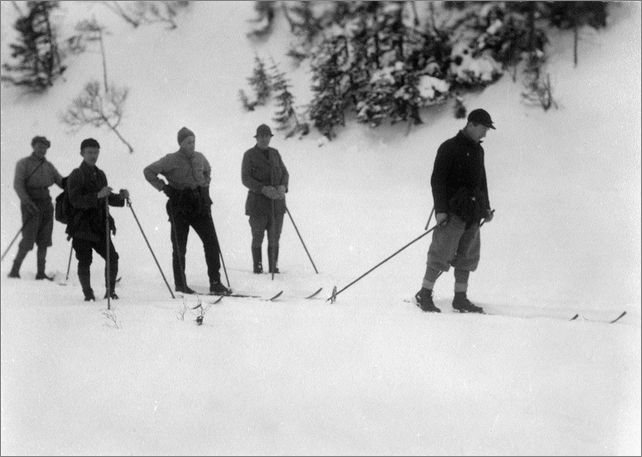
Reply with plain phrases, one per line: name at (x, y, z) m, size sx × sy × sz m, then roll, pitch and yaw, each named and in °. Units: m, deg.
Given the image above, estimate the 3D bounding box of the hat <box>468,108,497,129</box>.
hat at (1.362, -0.929, 6.909) m, size 0.180 × 0.133 × 0.146 m, roll 13°, pitch 16°, yaw 21°

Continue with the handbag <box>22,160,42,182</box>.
handbag at (-2.601, -0.508, 7.354) m, size 0.194 × 0.199 × 0.038 m, roll 1°, pitch 5°, yaw 3°

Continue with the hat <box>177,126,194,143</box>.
hat at (-1.210, -0.818, 7.252) m, size 0.123 × 0.142 × 0.120 m, roll 7°, pitch 25°, yaw 40°

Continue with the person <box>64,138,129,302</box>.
person at (-1.941, -0.070, 7.024) m, size 0.511 × 1.382 × 0.322 m, roll -2°, pitch 6°, yaw -21°

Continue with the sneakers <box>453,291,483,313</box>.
sneakers at (1.231, 0.647, 7.015) m, size 0.294 × 0.230 × 0.117 m, roll -1°, pitch -3°, yaw 6°

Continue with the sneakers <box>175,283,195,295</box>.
sneakers at (-1.206, 0.527, 7.172) m, size 0.192 × 0.155 × 0.074 m, roll -1°, pitch -1°, yaw -14°

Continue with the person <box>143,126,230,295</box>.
person at (-1.183, -0.147, 7.163) m, size 0.728 × 1.431 × 0.296 m, roll -1°, pitch 5°, yaw -11°

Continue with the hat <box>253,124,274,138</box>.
hat at (-0.530, -0.864, 7.343) m, size 0.141 × 0.118 × 0.074 m, roll 0°, pitch 6°, yaw -6°

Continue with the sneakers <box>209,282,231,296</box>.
sneakers at (-0.895, 0.534, 7.177) m, size 0.226 × 0.176 × 0.083 m, roll -2°, pitch -2°, yaw -3°

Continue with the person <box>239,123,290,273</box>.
person at (-0.512, -0.265, 7.375) m, size 0.433 × 1.326 × 0.232 m, roll 0°, pitch 5°, yaw -5°

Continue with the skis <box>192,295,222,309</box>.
skis at (-0.988, 0.634, 7.029) m, size 0.309 × 0.081 × 0.174 m, roll -5°, pitch 9°, yaw -40°

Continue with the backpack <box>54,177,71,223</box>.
backpack at (-2.217, -0.200, 6.984) m, size 0.152 × 0.340 × 0.084 m, roll 3°, pitch 6°, yaw 21°

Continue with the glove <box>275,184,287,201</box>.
glove at (-0.362, -0.321, 7.406) m, size 0.081 × 0.126 × 0.037 m, roll 2°, pitch -2°, yaw -23°

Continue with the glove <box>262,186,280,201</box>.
glove at (-0.462, -0.316, 7.381) m, size 0.170 × 0.123 × 0.047 m, roll 0°, pitch 5°, yaw -6°

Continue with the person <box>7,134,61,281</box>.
person at (-2.594, -0.184, 7.362) m, size 0.480 × 1.277 × 0.241 m, roll -2°, pitch 6°, yaw -25°

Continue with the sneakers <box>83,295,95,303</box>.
sneakers at (-2.003, 0.599, 7.026) m, size 0.103 × 0.075 × 0.070 m, roll 4°, pitch -4°, yaw 3°

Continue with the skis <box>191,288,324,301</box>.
skis at (-0.552, 0.568, 7.133) m, size 1.130 × 0.090 × 0.146 m, roll 1°, pitch 6°, yaw 0°
